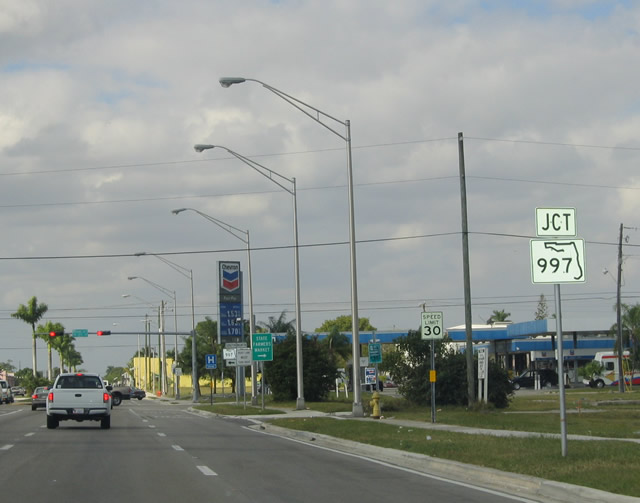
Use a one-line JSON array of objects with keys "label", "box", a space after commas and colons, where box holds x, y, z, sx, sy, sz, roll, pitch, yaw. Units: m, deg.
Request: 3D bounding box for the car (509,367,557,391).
[{"label": "car", "box": [16.955, 9.786, 91.464, 3.090, 1.666, 3.913, -5, -11, 15]}]

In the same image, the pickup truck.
[{"label": "pickup truck", "box": [-9.295, 5.680, 45.402, 2.538, 2.023, 4.844, 1, -5, -11]}]

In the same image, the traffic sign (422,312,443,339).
[{"label": "traffic sign", "box": [4.127, 2.682, 42.827, 0.681, 0.951, 0.735, -4, -10, 14]}]
